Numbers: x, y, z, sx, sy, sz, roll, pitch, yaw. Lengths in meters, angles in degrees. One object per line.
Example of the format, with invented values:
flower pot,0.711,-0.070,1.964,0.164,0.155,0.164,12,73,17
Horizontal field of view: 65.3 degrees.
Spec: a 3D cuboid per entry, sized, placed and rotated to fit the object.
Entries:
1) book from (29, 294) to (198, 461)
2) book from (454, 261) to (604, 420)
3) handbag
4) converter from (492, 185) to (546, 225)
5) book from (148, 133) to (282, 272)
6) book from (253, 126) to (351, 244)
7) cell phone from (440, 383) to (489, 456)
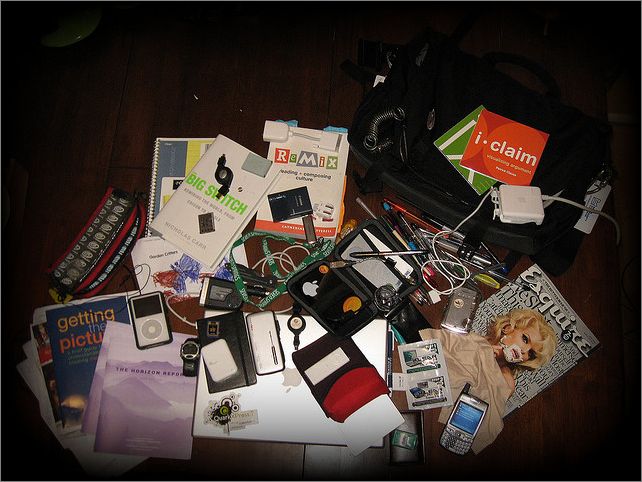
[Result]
book,-0.763,0.572,2.098,0.561,0.089,0.640,-1,83,-2
book,0.800,0.431,2.000,0.460,0.030,0.597,-35,82,-2
handbag,0.592,-0.392,2.121,0.923,0.286,0.879,38,93,0
converter,0.754,-0.134,1.917,0.198,0.095,0.124,3,65,2
book,-0.430,-0.131,2.047,0.456,0.120,0.327,36,56,1
book,-0.050,-0.220,2.014,0.366,0.109,0.482,8,87,3
cell phone,0.556,0.664,1.907,0.124,0.057,0.262,21,82,10
